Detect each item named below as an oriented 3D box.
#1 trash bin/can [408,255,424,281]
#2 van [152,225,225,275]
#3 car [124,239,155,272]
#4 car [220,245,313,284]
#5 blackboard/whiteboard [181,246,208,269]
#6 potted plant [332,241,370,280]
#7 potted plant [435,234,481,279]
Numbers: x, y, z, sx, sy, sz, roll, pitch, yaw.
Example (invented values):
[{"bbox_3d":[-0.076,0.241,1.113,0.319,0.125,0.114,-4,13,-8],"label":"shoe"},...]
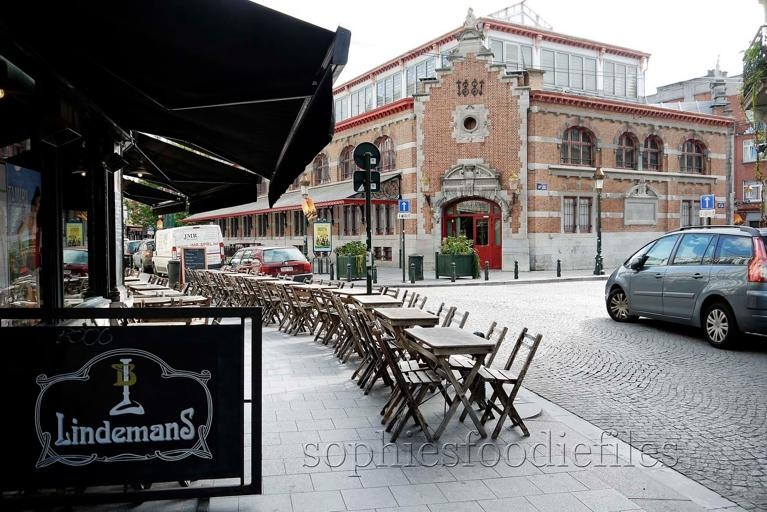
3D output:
[{"bbox_3d":[1.369,0.476,26.377,0.888,1.336,0.896,0,-3,-12],"label":"trash bin/can"},{"bbox_3d":[-8.085,-0.247,25.505,1.986,1.717,3.396,-1,3,-35],"label":"van"},{"bbox_3d":[-13.061,0.055,32.971,1.491,1.241,2.524,-2,9,-34],"label":"car"},{"bbox_3d":[-3.832,0.154,21.076,1.503,1.320,2.576,-2,7,-34],"label":"car"},{"bbox_3d":[-6.867,0.082,22.260,0.779,0.916,0.155,-2,1,-7],"label":"blackboard/whiteboard"},{"bbox_3d":[-1.547,0.207,26.283,1.491,1.753,1.458,1,-2,-44],"label":"potted plant"},{"bbox_3d":[3.036,0.047,26.103,1.808,2.502,1.736,2,-3,-45],"label":"potted plant"}]
